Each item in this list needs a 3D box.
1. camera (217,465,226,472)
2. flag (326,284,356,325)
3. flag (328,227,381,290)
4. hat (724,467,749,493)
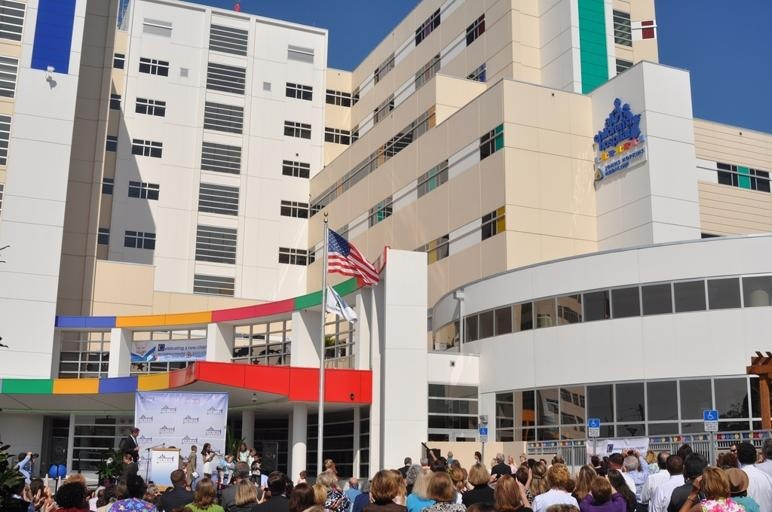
[{"bbox_3d":[-6.702,8.587,30.905,0.298,0.223,0.453,5,-19,-18],"label":"camera"},{"bbox_3d":[-2.249,2.392,36.843,1.300,1.784,2.158,1,-18,-5],"label":"flag"},{"bbox_3d":[-1.614,0.139,37.351,3.060,2.314,0.292,16,-27,-30],"label":"flag"},{"bbox_3d":[7.196,4.631,15.728,0.651,0.525,0.249,8,-19,-27],"label":"hat"}]
